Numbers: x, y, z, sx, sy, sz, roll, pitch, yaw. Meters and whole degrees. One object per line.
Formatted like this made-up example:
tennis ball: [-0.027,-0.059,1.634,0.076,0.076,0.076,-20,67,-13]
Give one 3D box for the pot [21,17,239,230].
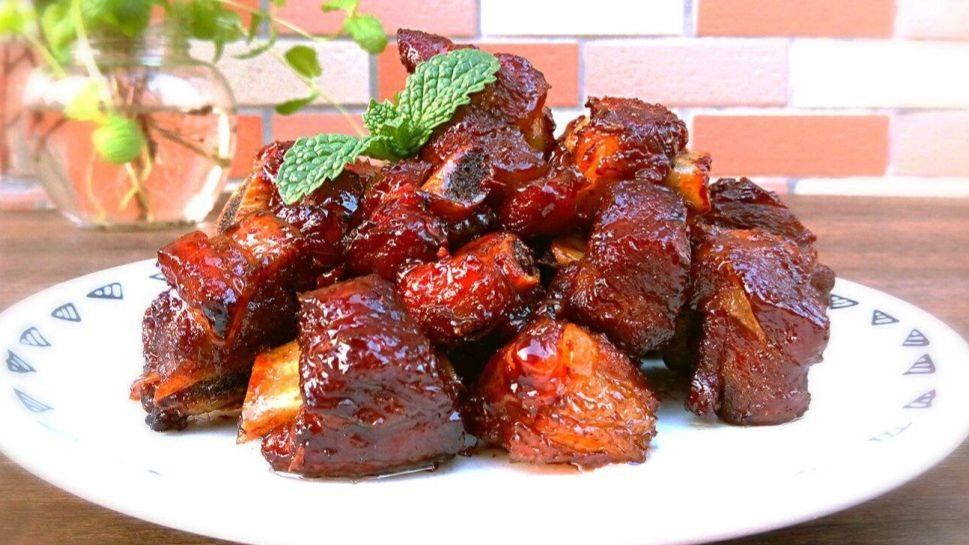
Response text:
pot: [-1.445,-0.576,3.643,0.820,0.833,0.675,9,100,43]
